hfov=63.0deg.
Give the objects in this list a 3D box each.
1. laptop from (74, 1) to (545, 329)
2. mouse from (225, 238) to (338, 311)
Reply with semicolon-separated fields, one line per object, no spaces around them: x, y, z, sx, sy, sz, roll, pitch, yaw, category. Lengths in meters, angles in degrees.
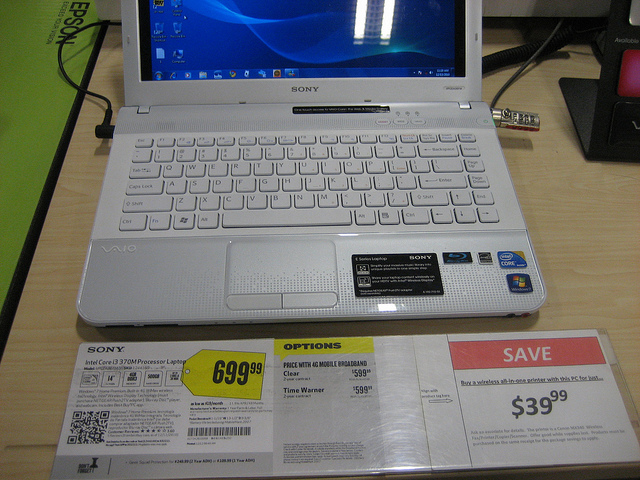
-0.024;-0.113;0.813;0.697;0.322;0.549;-2;68;-1;laptop
-0.059;0.066;0.830;0.155;0.030;0.097;-3;73;1;mouse
